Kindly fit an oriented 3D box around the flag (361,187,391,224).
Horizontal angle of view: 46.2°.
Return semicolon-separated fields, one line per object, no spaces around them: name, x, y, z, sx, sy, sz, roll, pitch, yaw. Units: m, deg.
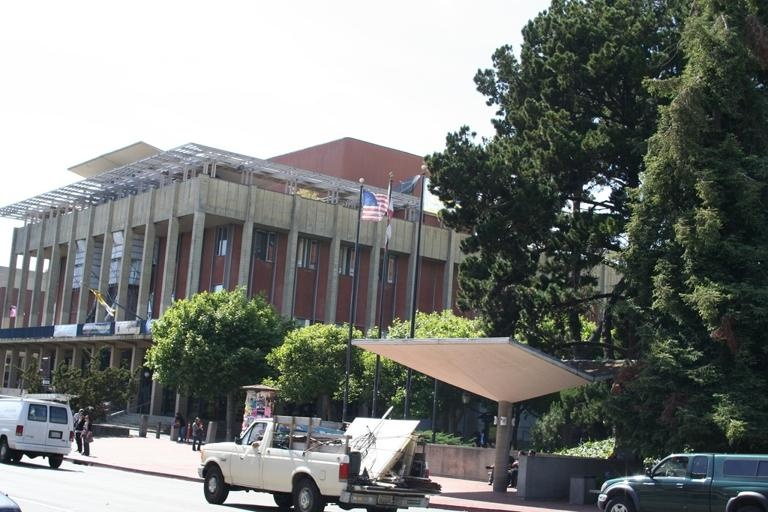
flag;-0.347;-2.655;47.766;1.809;2.115;0.286;7;-34;-8
